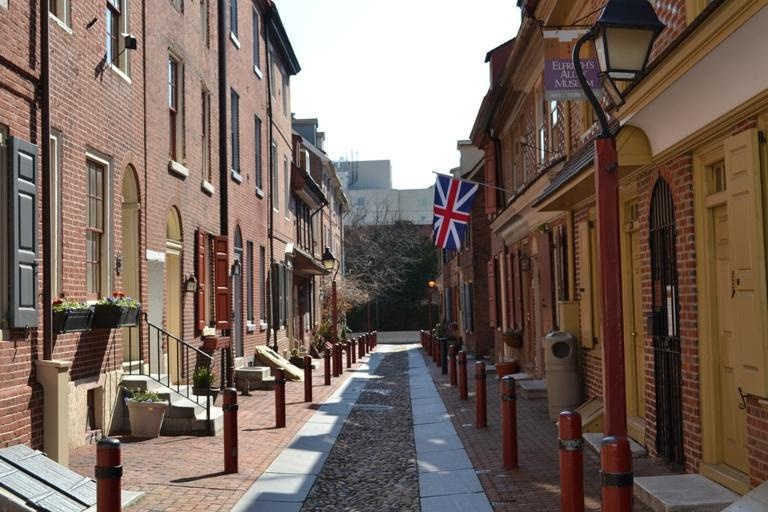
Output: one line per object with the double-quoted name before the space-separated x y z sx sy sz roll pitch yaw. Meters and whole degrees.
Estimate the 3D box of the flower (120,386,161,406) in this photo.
"flower" -4.233 2.451 12.463 0.482 0.238 0.376 5 -8 -5

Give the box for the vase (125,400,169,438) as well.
"vase" -4.086 2.796 12.273 0.716 0.666 0.267 -4 -9 14

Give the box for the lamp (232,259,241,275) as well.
"lamp" -4.023 0.264 19.345 0.193 0.560 0.939 0 -11 -7

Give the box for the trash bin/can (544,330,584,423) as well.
"trash bin/can" 3.321 2.196 13.197 0.677 1.641 0.596 -2 -9 5

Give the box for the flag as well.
"flag" 1.715 -1.133 17.592 1.162 1.918 0.957 -4 -10 20

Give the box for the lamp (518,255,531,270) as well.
"lamp" 3.656 0.168 18.743 0.310 0.437 0.319 -2 -5 29

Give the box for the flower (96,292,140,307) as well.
"flower" -4.415 0.742 11.813 0.347 0.182 0.372 1 -4 -5

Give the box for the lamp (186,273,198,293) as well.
"lamp" -4.301 0.603 15.936 0.190 0.418 0.441 0 -10 -3

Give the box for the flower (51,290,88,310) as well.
"flower" -4.793 0.716 11.016 0.371 0.350 0.712 -1 -11 0

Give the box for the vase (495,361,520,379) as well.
"vase" 3.118 2.876 18.271 0.674 0.556 0.727 -5 -5 19
